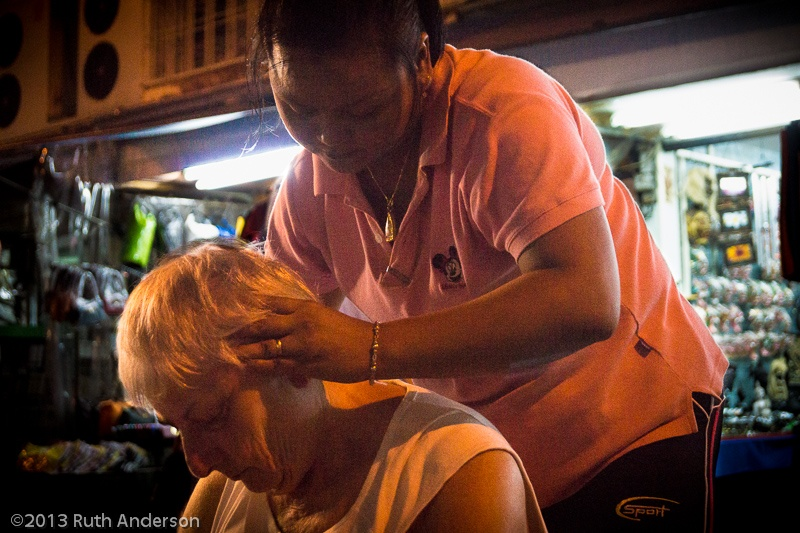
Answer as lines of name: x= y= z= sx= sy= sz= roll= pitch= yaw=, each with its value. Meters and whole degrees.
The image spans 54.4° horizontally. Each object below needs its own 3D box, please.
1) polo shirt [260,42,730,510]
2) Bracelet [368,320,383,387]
polo shirt: x=0.222 y=0.010 z=2.327 sx=1.126 sy=1.275 sz=0.862 roll=-7 pitch=8 yaw=40
Bracelet: x=-0.060 y=0.200 z=1.809 sx=0.025 sy=0.134 sz=0.027 roll=0 pitch=-3 yaw=-5
